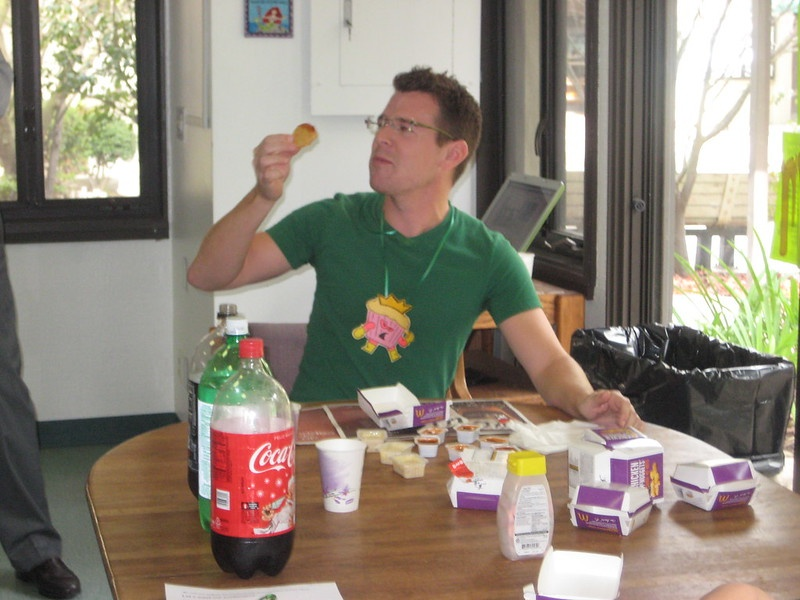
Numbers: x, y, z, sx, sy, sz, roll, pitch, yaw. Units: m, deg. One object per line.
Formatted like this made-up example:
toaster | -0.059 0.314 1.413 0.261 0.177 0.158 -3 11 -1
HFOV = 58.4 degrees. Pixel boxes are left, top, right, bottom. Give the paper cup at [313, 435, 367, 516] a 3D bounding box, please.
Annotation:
paper cup | -0.103 0.310 1.263 0.093 0.112 0.087 -1 -3 0

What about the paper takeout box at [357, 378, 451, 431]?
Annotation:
paper takeout box | -0.015 0.231 1.581 0.119 0.051 0.121 -8 23 -32

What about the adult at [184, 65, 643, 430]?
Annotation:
adult | 0.041 -0.195 2.346 1.325 1.802 0.527 4 -17 10

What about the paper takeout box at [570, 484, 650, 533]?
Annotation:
paper takeout box | 0.352 0.322 1.193 0.083 0.055 0.092 2 1 37

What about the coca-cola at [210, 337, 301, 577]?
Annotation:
coca-cola | -0.224 0.233 1.078 0.122 0.339 0.173 -2 12 -12

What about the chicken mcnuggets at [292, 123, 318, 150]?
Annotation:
chicken mcnuggets | -0.232 -0.394 1.716 0.054 0.058 0.173 -1 13 -9

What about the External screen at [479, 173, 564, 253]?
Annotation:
External screen | 0.483 -0.360 2.958 0.247 0.358 0.030 20 -25 28

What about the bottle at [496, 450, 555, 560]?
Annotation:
bottle | 0.202 0.322 1.136 0.084 0.168 0.059 -2 6 -7

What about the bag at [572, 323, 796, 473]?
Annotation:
bag | 0.955 0.268 2.534 0.507 0.446 0.668 -4 8 -28

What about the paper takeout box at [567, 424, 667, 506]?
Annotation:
paper takeout box | 0.389 0.266 1.283 0.161 0.144 0.118 0 0 -15

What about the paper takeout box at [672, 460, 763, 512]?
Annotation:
paper takeout box | 0.574 0.328 1.304 0.123 0.090 0.116 -2 3 -14

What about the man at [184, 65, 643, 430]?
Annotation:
man | 0.041 -0.195 2.346 1.325 1.802 0.527 4 -17 10
